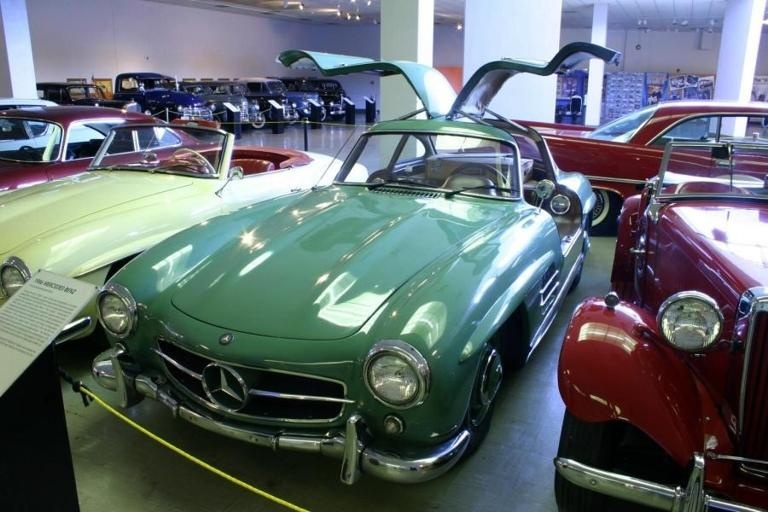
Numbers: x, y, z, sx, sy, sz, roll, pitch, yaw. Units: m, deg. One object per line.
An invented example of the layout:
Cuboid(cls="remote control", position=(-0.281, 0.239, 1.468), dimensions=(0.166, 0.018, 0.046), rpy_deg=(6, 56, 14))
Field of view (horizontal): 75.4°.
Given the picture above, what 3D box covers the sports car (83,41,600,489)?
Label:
Cuboid(cls="sports car", position=(0.003, -0.169, 3.396), dimensions=(2.097, 2.271, 3.096), rpy_deg=(10, 21, 31))
